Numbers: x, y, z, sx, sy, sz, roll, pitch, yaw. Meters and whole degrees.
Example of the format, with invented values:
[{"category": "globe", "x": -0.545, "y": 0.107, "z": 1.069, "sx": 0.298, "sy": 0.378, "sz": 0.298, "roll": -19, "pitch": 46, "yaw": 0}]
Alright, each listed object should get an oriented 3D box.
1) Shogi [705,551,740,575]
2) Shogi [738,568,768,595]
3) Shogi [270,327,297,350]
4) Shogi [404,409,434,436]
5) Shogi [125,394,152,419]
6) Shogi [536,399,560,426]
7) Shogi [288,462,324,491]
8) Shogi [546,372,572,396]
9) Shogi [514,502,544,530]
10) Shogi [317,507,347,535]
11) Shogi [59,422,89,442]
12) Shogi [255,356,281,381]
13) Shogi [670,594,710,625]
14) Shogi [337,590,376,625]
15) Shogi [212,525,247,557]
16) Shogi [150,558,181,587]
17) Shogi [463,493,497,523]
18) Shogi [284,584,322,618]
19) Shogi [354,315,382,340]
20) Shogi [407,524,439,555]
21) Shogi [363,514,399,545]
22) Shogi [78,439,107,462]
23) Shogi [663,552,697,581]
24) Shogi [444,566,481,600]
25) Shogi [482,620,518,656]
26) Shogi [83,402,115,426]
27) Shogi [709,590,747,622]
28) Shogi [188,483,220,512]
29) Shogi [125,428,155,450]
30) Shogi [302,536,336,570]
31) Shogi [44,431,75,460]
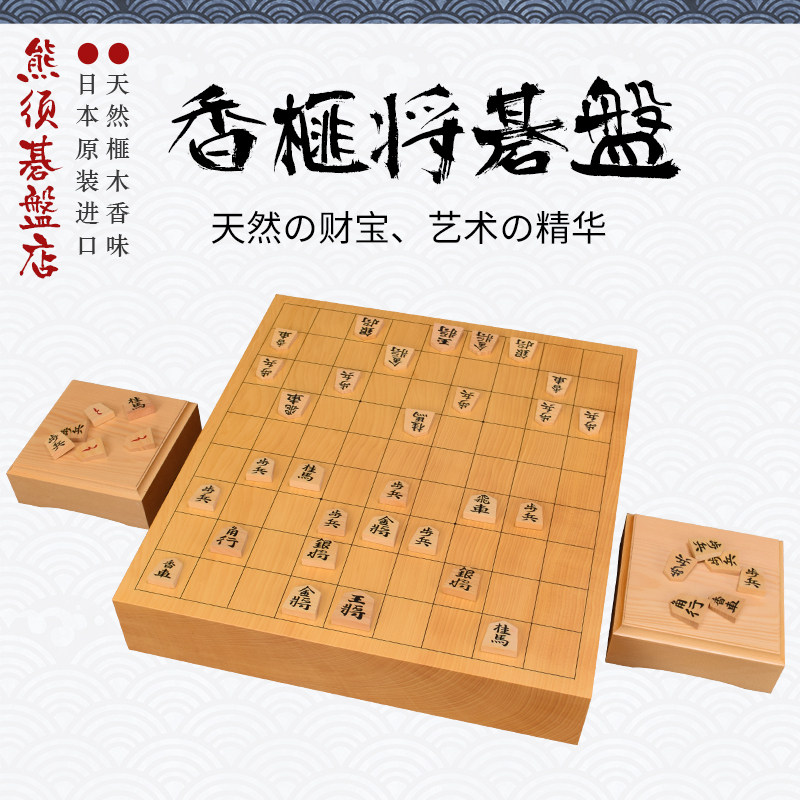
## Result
[{"category": "Shogi", "x": 1.288, "y": 0.650, "z": 2.973, "sx": 0.085, "sy": 0.091, "sz": 0.019, "roll": 47, "pitch": -27, "yaw": 41}, {"category": "Shogi", "x": 1.373, "y": 0.708, "z": 2.925, "sx": 0.100, "sy": 0.106, "sz": 0.083, "roll": 10, "pitch": -7, "yaw": 18}, {"category": "Shogi", "x": -0.592, "y": -0.317, "z": 3.804, "sx": 0.121, "sy": 0.112, "sz": 0.030, "roll": 15, "pitch": -30, "yaw": 14}, {"category": "Shogi", "x": 0.089, "y": 0.094, "z": 3.395, "sx": 0.122, "sy": 0.112, "sz": 0.027, "roll": 12, "pitch": -41, "yaw": 11}, {"category": "Shogi", "x": -1.218, "y": 0.027, "z": 3.518, "sx": 0.117, "sy": 0.108, "sz": 0.026, "roll": 8, "pitch": -39, "yaw": 1}, {"category": "Shogi", "x": 0.676, "y": 0.056, "z": 3.444, "sx": 0.106, "sy": 0.101, "sz": 0.024, "roll": 12, "pitch": -40, "yaw": 24}, {"category": "Shogi", "x": -0.379, "y": 0.311, "z": 3.128, "sx": 0.115, "sy": 0.109, "sz": 0.025, "roll": 9, "pitch": -49, "yaw": 6}, {"category": "Shogi", "x": 0.762, "y": -0.082, "z": 3.581, "sx": 0.115, "sy": 0.105, "sz": 0.026, "roll": 11, "pitch": -39, "yaw": 13}, {"category": "Shogi", "x": 0.519, "y": 0.463, "z": 3.005, "sx": 0.109, "sy": 0.097, "sz": 0.024, "roll": 4, "pitch": -42, "yaw": 7}, {"category": "Shogi", "x": -0.259, "y": 0.476, "z": 2.975, "sx": 0.087, "sy": 0.103, "sz": 0.027, "roll": 7, "pitch": -51, "yaw": 8}, {"category": "Shogi", "x": -1.475, "y": 0.143, "z": 3.414, "sx": 0.103, "sy": 0.094, "sz": 0.022, "roll": 9, "pitch": -47, "yaw": 4}, {"category": "Shogi", "x": -0.639, "y": -0.163, "z": 3.655, "sx": 0.108, "sy": 0.118, "sz": 0.032, "roll": 6, "pitch": -44, "yaw": 6}, {"category": "Shogi", "x": 1.085, "y": 0.796, "z": 2.830, "sx": 0.117, "sy": 0.101, "sz": 0.078, "roll": 9, "pitch": -8, "yaw": 23}, {"category": "Shogi", "x": -0.151, "y": 0.750, "z": 2.686, "sx": 0.126, "sy": 0.075, "sz": 0.102, "roll": 11, "pitch": -7, "yaw": -1}, {"category": "Shogi", "x": -0.652, "y": 0.544, "z": 2.907, "sx": 0.133, "sy": 0.090, "sz": 0.090, "roll": 6, "pitch": -9, "yaw": 35}, {"category": "Shogi", "x": -0.865, "y": 0.646, "z": 2.807, "sx": 0.103, "sy": 0.083, "sz": 0.066, "roll": 11, "pitch": -7, "yaw": 2}, {"category": "Shogi", "x": 0.331, "y": 0.438, "z": 3.014, "sx": 0.115, "sy": 0.108, "sz": 0.025, "roll": 9, "pitch": -48, "yaw": 12}, {"category": "Shogi", "x": -0.342, "y": 0.732, "z": 2.716, "sx": 0.123, "sy": 0.083, "sz": 0.082, "roll": 10, "pitch": -7, "yaw": 6}, {"category": "Shogi", "x": -0.160, "y": -0.379, "z": 3.867, "sx": 0.136, "sy": 0.127, "sz": 0.031, "roll": 8, "pitch": -42, "yaw": 6}, {"category": "Shogi", "x": 0.102, "y": 0.544, "z": 2.910, "sx": 0.089, "sy": 0.102, "sz": 0.024, "roll": 5, "pitch": -49, "yaw": 11}, {"category": "Shogi", "x": -0.068, "y": 0.513, "z": 2.954, "sx": 0.129, "sy": 0.080, "sz": 0.078, "roll": 11, "pitch": -7, "yaw": -1}, {"category": "Shogi", "x": -1.361, "y": 0.220, "z": 3.333, "sx": 0.109, "sy": 0.101, "sz": 0.024, "roll": 2, "pitch": -44, "yaw": -3}, {"category": "Shogi", "x": 1.115, "y": 0.665, "z": 2.973, "sx": 0.079, "sy": 0.111, "sz": 0.100, "roll": 7, "pitch": -9, "yaw": 38}, {"category": "Shogi", "x": 0.236, "y": 0.679, "z": 2.781, "sx": 0.129, "sy": 0.107, "sz": 0.100, "roll": 11, "pitch": -7, "yaw": 5}, {"category": "Shogi", "x": 0.355, "y": 0.825, "z": 2.600, "sx": 0.088, "sy": 0.107, "sz": 0.024, "roll": 7, "pitch": -52, "yaw": 11}, {"category": "Shogi", "x": -1.401, "y": 0.061, "z": 3.502, "sx": 0.106, "sy": 0.106, "sz": 0.024, "roll": 44, "pitch": -33, "yaw": 28}, {"category": "Shogi", "x": 1.239, "y": 0.777, "z": 2.834, "sx": 0.107, "sy": 0.096, "sz": 0.026, "roll": 13, "pitch": -41, "yaw": 15}, {"category": "Shogi", "x": -0.790, "y": 0.397, "z": 3.062, "sx": 0.090, "sy": 0.110, "sz": 0.030, "roll": 8, "pitch": -47, "yaw": 8}, {"category": "Shogi", "x": -1.155, "y": 0.179, "z": 3.357, "sx": 0.104, "sy": 0.099, "sz": 0.023, "roll": -4, "pitch": -49, "yaw": -8}, {"category": "Shogi", "x": -0.298, "y": 0.585, "z": 2.866, "sx": 0.108, "sy": 0.099, "sz": 0.023, "roll": 9, "pitch": -48, "yaw": 7}, {"category": "Shogi", "x": -1.533, "y": 0.206, "z": 3.405, "sx": 0.128, "sy": 0.106, "sz": 0.038, "roll": 41, "pitch": -19, "yaw": 34}]
